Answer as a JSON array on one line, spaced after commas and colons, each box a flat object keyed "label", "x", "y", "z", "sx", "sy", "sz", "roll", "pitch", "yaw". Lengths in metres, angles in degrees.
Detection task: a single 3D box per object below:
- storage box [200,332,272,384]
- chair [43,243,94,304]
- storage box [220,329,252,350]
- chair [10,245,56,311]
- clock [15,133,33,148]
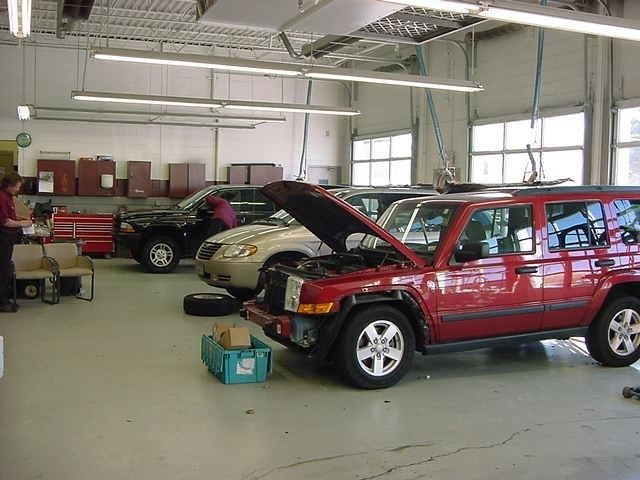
[{"label": "storage box", "x": -0.857, "y": 1.176, "z": 4.876, "sx": 0.543, "sy": 0.274, "sz": 0.716, "roll": 4, "pitch": 1, "yaw": -25}, {"label": "chair", "x": -4.178, "y": 0.504, "z": 7.934, "sx": 0.791, "sy": 0.864, "sz": 0.762, "roll": 3, "pitch": 2, "yaw": -32}, {"label": "storage box", "x": -0.799, "y": 0.917, "z": 4.668, "sx": 0.299, "sy": 0.175, "sz": 0.210, "roll": 1, "pitch": -3, "yaw": -26}, {"label": "chair", "x": -4.742, "y": 0.526, "z": 7.975, "sx": 0.894, "sy": 1.147, "sz": 1.112, "roll": 0, "pitch": 1, "yaw": -30}, {"label": "clock", "x": -9.165, "y": -3.092, "z": 14.858, "sx": 0.518, "sy": 0.429, "sz": 0.109, "roll": 12, "pitch": 2, "yaw": -14}]
